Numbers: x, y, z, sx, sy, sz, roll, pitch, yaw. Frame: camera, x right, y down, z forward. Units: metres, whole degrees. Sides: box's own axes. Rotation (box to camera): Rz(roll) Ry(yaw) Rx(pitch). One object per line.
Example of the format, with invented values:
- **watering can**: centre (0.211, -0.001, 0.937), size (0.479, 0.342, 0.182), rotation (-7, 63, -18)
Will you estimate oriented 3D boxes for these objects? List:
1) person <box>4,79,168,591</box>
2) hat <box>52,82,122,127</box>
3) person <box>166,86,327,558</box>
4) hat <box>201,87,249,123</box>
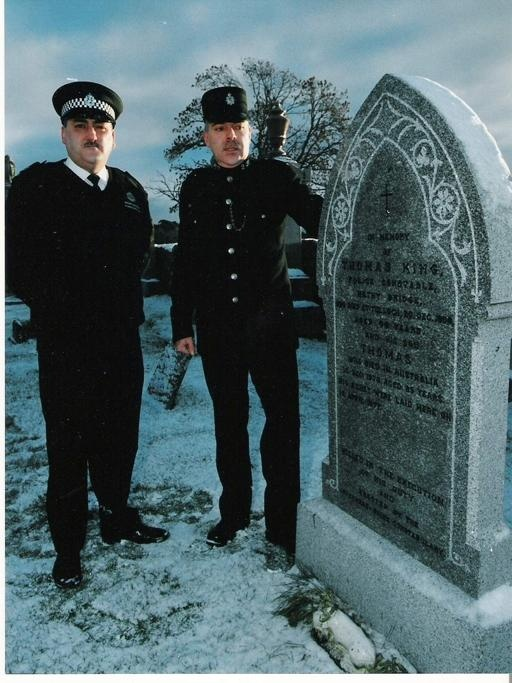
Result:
- **person**: centre (-0.733, 0.117, 3.125), size (0.337, 1.791, 0.665), rotation (10, 17, 43)
- **hat**: centre (-0.707, -1.016, 3.020), size (0.262, 0.120, 0.257), rotation (4, 4, -12)
- **person**: centre (-0.078, -0.074, 3.181), size (0.731, 2.076, 0.358), rotation (4, 13, 22)
- **hat**: centre (-0.139, -1.023, 3.029), size (0.199, 0.167, 0.171), rotation (-2, 12, -4)
